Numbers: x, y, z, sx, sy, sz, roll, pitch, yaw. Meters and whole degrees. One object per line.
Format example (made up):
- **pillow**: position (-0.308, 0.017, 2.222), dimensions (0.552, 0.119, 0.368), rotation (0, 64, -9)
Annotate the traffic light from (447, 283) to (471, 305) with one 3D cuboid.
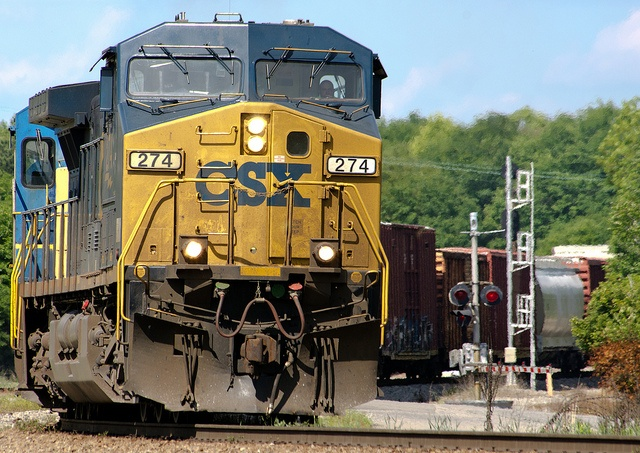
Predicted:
- **traffic light**: position (3.190, 1.543, 23.993), dimensions (0.489, 0.522, 0.141), rotation (-8, 10, -19)
